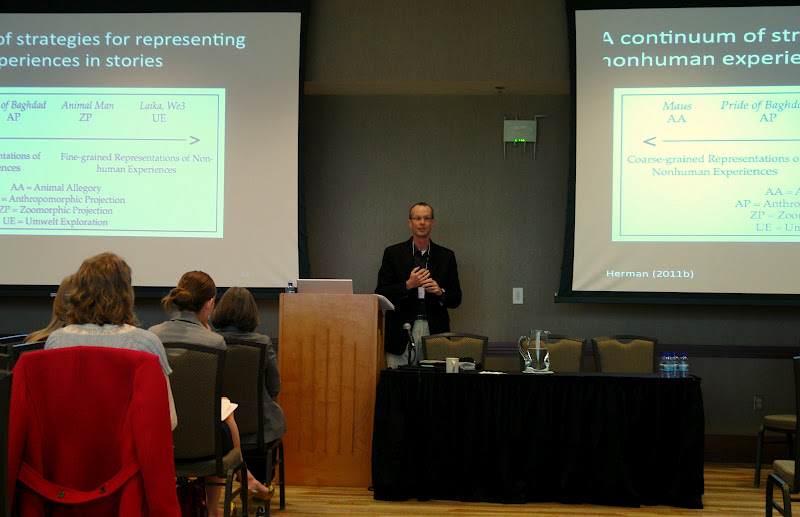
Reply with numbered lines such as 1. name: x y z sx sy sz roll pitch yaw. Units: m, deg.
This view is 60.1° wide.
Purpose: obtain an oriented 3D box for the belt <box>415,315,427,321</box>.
1. belt: 0.200 0.542 6.362 0.092 0.050 0.028 1 -3 -13

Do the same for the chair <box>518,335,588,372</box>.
1. chair: 1.330 0.830 5.877 0.353 0.402 0.450 6 -13 -22

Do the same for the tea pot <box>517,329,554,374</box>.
1. tea pot: 1.078 0.739 5.532 0.353 0.385 0.223 -3 -5 10

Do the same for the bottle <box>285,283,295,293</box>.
1. bottle: -1.043 0.277 6.537 0.059 0.114 0.062 -1 -47 -1

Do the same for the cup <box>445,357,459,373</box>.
1. cup: 0.402 0.828 5.382 0.094 0.100 0.098 0 -4 0

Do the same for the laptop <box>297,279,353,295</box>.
1. laptop: -0.620 0.226 5.668 0.440 0.113 0.120 0 -3 8
